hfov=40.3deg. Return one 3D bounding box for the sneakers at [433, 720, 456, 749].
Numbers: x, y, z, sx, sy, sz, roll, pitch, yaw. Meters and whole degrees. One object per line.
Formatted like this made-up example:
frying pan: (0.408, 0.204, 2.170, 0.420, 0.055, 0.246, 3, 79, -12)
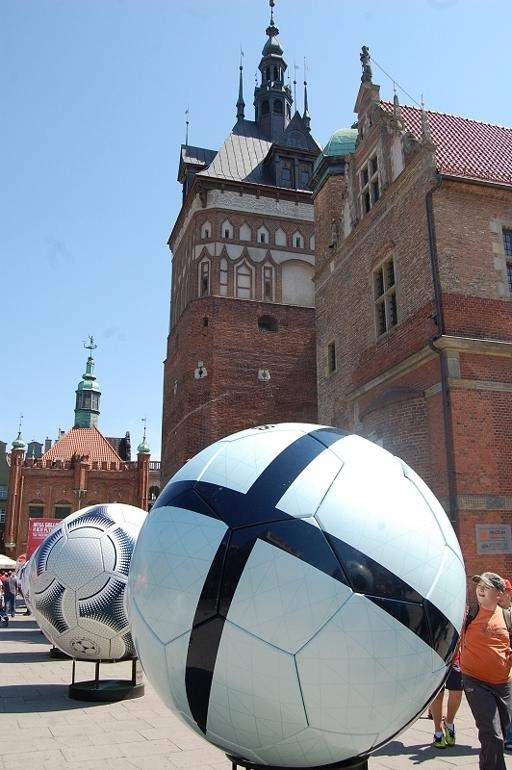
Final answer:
sneakers: (1.572, 2.923, 5.812, 0.112, 0.113, 0.271, 2, -14, 11)
